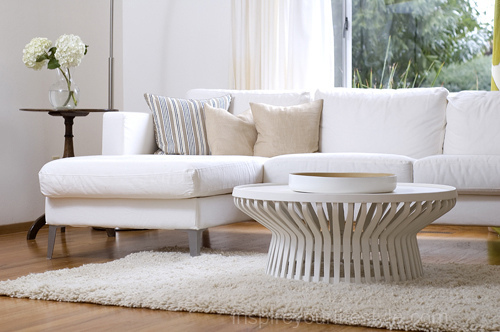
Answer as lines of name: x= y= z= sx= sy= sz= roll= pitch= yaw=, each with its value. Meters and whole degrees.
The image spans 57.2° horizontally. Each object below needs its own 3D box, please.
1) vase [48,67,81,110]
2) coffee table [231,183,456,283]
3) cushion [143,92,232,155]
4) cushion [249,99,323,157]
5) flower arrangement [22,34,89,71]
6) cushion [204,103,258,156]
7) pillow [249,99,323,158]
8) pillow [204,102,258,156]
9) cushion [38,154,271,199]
vase: x=-1.561 y=-0.683 z=3.824 sx=0.259 sy=0.413 sz=0.256 roll=-11 pitch=19 yaw=-43
coffee table: x=0.555 y=0.371 z=2.620 sx=1.181 sy=0.477 sz=1.205 roll=1 pitch=-4 yaw=-28
cushion: x=-0.498 y=-0.318 z=3.667 sx=0.530 sy=0.386 sz=0.183 roll=-1 pitch=3 yaw=-23
cushion: x=0.299 y=-0.296 z=3.717 sx=0.592 sy=0.453 sz=0.216 roll=-1 pitch=13 yaw=0
flower arrangement: x=-1.597 y=-0.910 z=3.708 sx=0.388 sy=0.231 sz=0.320 roll=-10 pitch=-13 yaw=1
cushion: x=-0.161 y=-0.276 z=3.648 sx=0.437 sy=0.394 sz=0.167 roll=-1 pitch=-12 yaw=-12
pillow: x=0.297 y=-0.278 z=3.727 sx=0.625 sy=0.495 sz=0.233 roll=1 pitch=7 yaw=7
pillow: x=-0.161 y=-0.275 z=3.648 sx=0.433 sy=0.395 sz=0.168 roll=-3 pitch=-15 yaw=-14
cushion: x=-0.655 y=0.071 z=2.955 sx=1.395 sy=0.273 sz=0.482 roll=-3 pitch=7 yaw=2
